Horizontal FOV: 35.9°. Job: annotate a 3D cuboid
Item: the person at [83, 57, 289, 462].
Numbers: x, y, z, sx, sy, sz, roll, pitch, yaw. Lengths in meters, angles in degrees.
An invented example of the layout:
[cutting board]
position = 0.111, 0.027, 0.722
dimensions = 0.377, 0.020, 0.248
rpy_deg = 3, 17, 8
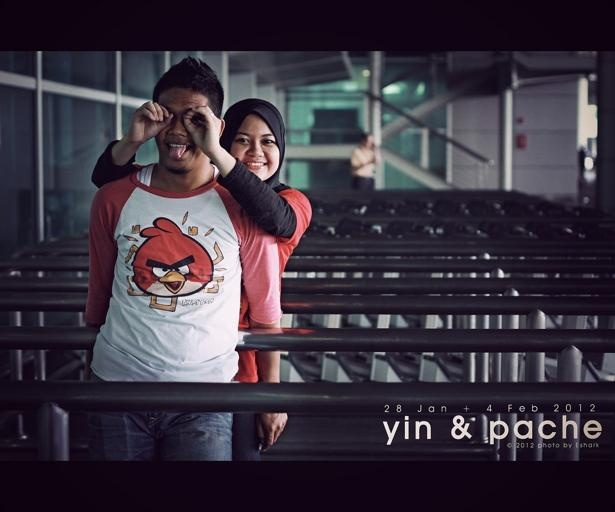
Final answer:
[person]
position = -0.350, 0.019, 2.837
dimensions = 0.625, 1.193, 0.376
rpy_deg = 3, -8, -1
